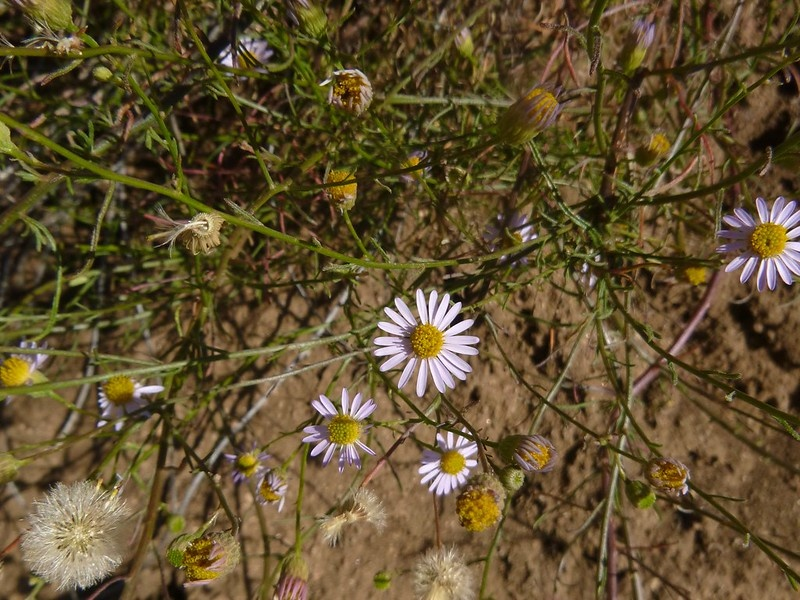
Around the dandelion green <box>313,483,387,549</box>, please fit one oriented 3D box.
[{"bbox_3d":[-0.174,0.851,3.040,0.230,0.225,0.135,2,86,3],"label":"dandelion green"}]

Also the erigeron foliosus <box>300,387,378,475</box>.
[{"bbox_3d":[-0.230,0.495,2.926,0.264,0.101,0.335,25,84,-15],"label":"erigeron foliosus"}]

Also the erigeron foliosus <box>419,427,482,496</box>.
[{"bbox_3d":[0.198,0.623,2.969,0.162,0.153,0.335,-6,103,-37],"label":"erigeron foliosus"}]

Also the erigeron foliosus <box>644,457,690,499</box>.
[{"bbox_3d":[0.958,0.634,2.748,0.132,0.084,0.128,30,101,16],"label":"erigeron foliosus"}]
